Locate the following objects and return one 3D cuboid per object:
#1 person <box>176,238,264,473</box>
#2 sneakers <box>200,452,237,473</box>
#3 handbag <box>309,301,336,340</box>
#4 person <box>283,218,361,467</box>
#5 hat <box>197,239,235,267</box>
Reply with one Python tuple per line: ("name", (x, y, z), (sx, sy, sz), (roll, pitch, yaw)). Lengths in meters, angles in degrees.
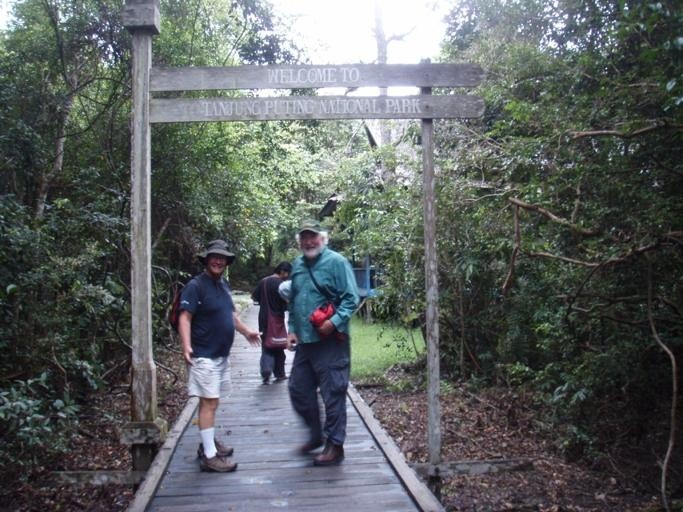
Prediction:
("person", (-1.633, 1.197, 7.275), (0.673, 2.775, 0.422), (-1, 3, -14))
("sneakers", (-1.492, 2.467, 7.248), (0.449, 0.235, 0.189), (2, -3, -8))
("handbag", (-0.226, 0.762, 7.114), (0.296, 0.405, 0.205), (-1, 3, -3))
("person", (-0.244, 1.045, 7.308), (0.893, 2.989, 0.543), (0, 3, 11))
("hat", (-1.516, -0.058, 7.437), (0.316, 0.194, 0.380), (2, -10, -1))
